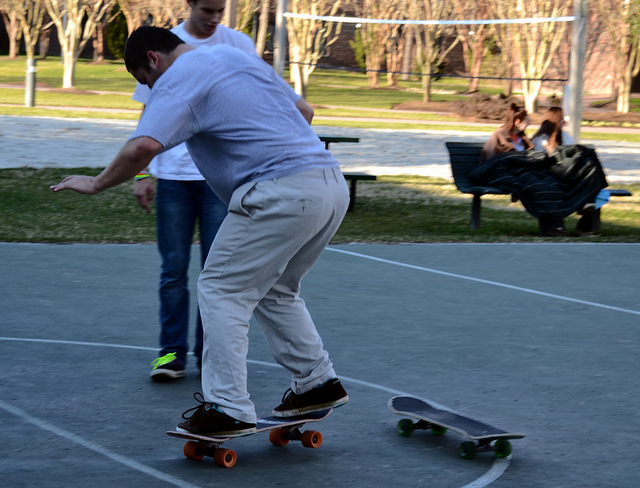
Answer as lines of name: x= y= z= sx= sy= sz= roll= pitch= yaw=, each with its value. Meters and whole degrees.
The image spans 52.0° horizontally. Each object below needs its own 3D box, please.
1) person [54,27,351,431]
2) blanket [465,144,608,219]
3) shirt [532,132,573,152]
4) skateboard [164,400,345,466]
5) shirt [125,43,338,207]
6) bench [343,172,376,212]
person: x=-0.377 y=-0.010 z=3.033 sx=0.945 sy=1.754 sz=0.583 roll=-4 pitch=15 yaw=-39
blanket: x=3.267 y=-0.815 z=9.530 sx=2.634 sy=0.973 sz=1.557 roll=1 pitch=16 yaw=-13
shirt: x=3.722 y=-1.601 z=10.401 sx=0.740 sy=0.202 sz=0.676 roll=-9 pitch=10 yaw=-31
skateboard: x=-0.301 y=0.878 z=3.155 sx=0.875 sy=0.125 sz=0.319 roll=0 pitch=0 yaw=-35
shirt: x=-0.373 y=-0.531 z=2.964 sx=0.900 sy=0.706 sz=0.361 roll=2 pitch=12 yaw=-14
bench: x=0.676 y=-0.894 z=11.209 sx=0.489 sy=0.632 sz=1.747 roll=6 pitch=8 yaw=4
